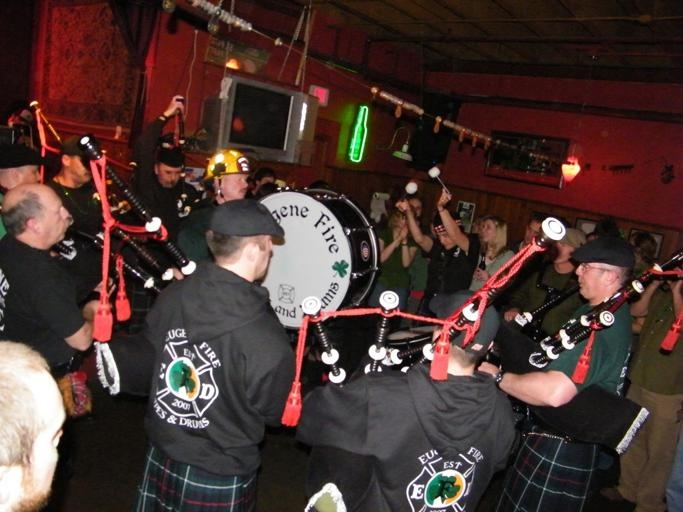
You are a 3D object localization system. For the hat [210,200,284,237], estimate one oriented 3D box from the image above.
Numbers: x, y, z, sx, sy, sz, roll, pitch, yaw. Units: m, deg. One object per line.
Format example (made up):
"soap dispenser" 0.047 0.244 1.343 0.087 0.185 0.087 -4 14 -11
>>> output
"hat" -0.461 -0.183 2.675 0.268 0.120 0.196 1 10 -38

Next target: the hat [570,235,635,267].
"hat" 1.539 -0.010 3.143 0.264 0.128 0.193 14 6 22

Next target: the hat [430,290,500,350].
"hat" 0.581 0.275 2.584 0.241 0.179 0.326 -5 43 -40

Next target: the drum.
"drum" -0.194 0.013 3.991 0.887 0.929 0.376 -21 -5 27

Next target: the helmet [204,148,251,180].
"helmet" -0.851 -0.677 3.987 0.267 0.239 0.211 -9 13 6
